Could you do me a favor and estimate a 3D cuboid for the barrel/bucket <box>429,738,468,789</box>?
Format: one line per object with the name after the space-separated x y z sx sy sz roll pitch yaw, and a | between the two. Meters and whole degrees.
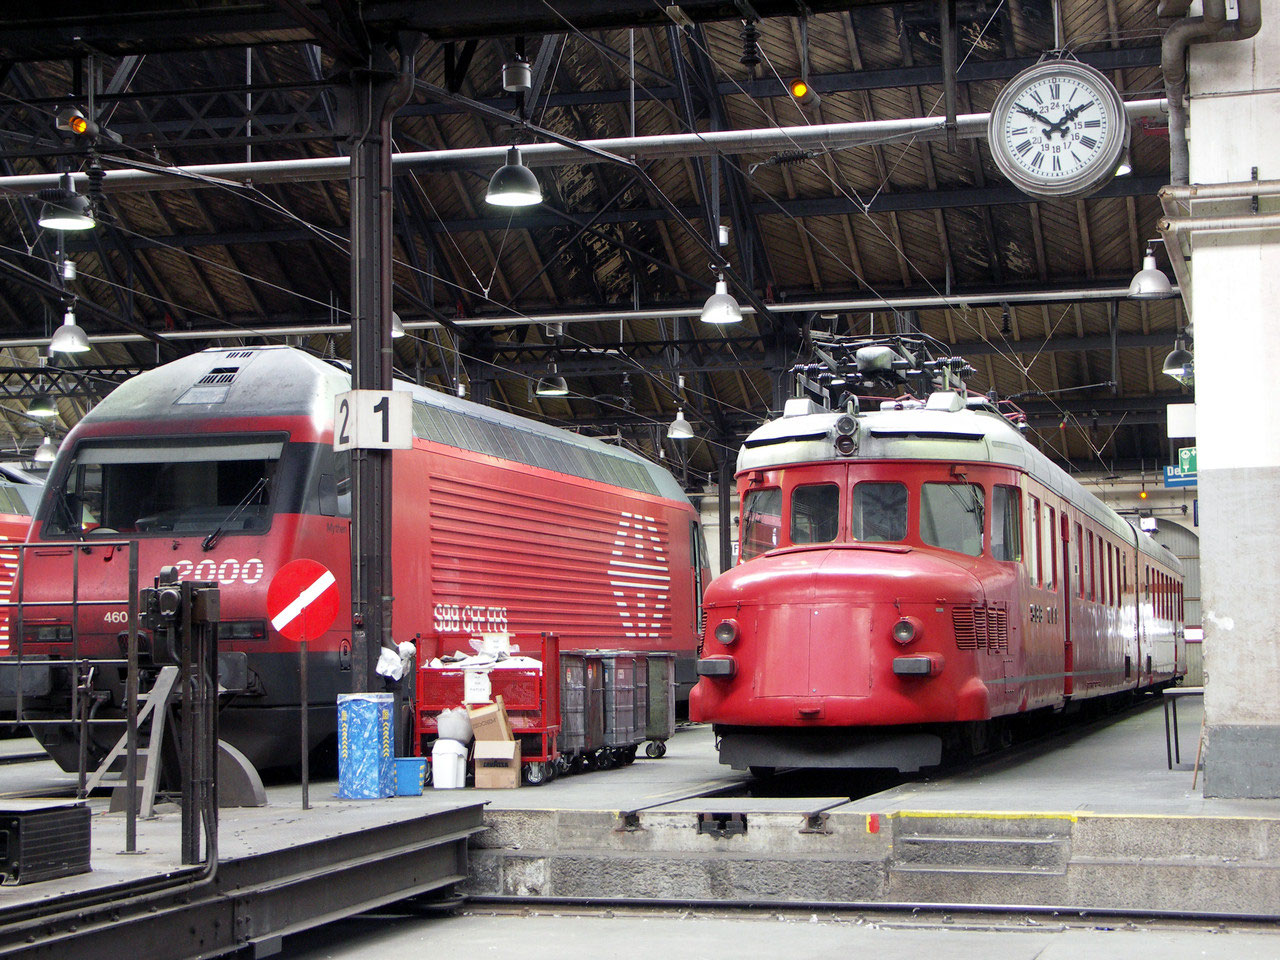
-1.895 2.837 18.277 0.342 0.501 0.342 -2 -12 0 | barrel/bucket

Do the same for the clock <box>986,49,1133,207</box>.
4.280 -3.639 18.915 1.414 1.417 1.511 3 -8 23 | clock

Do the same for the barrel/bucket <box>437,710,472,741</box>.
-1.875 2.486 18.467 0.270 0.271 0.325 -2 -17 8 | barrel/bucket

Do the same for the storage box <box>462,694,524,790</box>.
-1.582 2.619 18.343 0.732 1.171 0.870 -2 -4 6 | storage box

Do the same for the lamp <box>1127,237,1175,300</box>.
7.663 -3.190 27.339 0.745 0.835 0.748 1 11 28 | lamp

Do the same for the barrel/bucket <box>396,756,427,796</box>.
-2.175 2.810 17.312 0.238 0.367 0.338 -4 -12 7 | barrel/bucket
